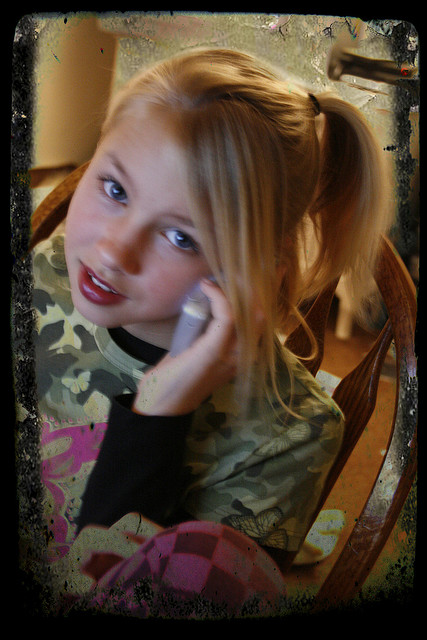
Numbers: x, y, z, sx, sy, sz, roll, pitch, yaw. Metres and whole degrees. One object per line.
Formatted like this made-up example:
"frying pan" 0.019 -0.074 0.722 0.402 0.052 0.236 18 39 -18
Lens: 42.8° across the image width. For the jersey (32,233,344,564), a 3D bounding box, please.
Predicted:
"jersey" -0.043 0.135 0.936 0.538 0.292 0.521 -1 66 0
